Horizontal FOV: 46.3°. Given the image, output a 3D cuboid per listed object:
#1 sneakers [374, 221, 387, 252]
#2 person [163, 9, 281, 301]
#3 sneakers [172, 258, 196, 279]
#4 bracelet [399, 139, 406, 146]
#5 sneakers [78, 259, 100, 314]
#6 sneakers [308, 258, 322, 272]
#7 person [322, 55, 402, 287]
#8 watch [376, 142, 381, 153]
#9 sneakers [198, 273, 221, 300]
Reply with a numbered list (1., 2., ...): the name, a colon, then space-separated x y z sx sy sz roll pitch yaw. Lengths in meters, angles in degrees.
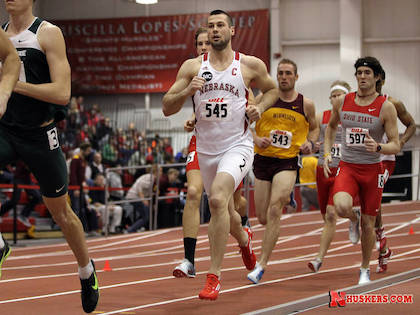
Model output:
1. sneakers: 2.199 1.041 6.251 0.139 0.195 0.455 -19 24 31
2. person: 0.178 -0.015 4.575 0.731 2.686 1.051 -3 -4 40
3. sneakers: -0.233 1.017 4.423 0.127 0.184 0.265 -2 -3 20
4. bracelet: 2.444 -0.196 6.227 0.082 0.067 0.113 29 10 28
5. sneakers: -0.975 1.035 4.059 0.130 0.458 0.159 -9 -6 17
6. sneakers: 1.275 1.308 5.952 0.098 0.107 0.253 41 -6 29
7. person: 1.671 0.093 5.475 0.847 2.445 0.700 -2 -3 26
8. watch: 1.766 -0.103 5.131 0.066 0.049 0.078 -25 25 41
9. sneakers: 0.000 1.091 4.149 0.099 0.150 0.301 7 -2 12
